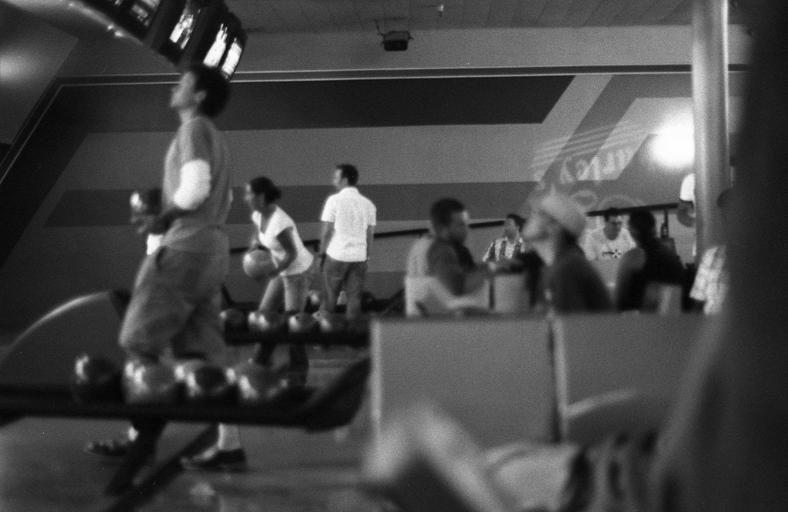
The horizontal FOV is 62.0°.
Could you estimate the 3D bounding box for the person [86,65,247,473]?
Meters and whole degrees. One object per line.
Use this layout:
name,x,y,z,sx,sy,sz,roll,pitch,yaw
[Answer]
person,-0.885,-0.001,2.674,0.520,1.627,0.578,-7,-9,30

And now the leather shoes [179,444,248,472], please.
leather shoes,-0.795,0.870,2.859,0.294,0.123,0.111,2,-15,2

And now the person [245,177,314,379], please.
person,-0.721,0.068,4.133,0.396,1.111,0.848,-5,12,-7

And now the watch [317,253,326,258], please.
watch,-0.584,-0.003,5.253,0.079,0.025,0.080,-1,0,-15

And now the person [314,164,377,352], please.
person,-0.317,-0.062,4.387,0.449,1.032,1.087,-5,12,-5

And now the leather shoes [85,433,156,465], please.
leather shoes,-1.250,0.848,2.967,0.258,0.146,0.260,1,-7,-26

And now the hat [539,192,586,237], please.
hat,0.548,-0.130,2.173,0.148,0.155,0.156,-1,13,13
